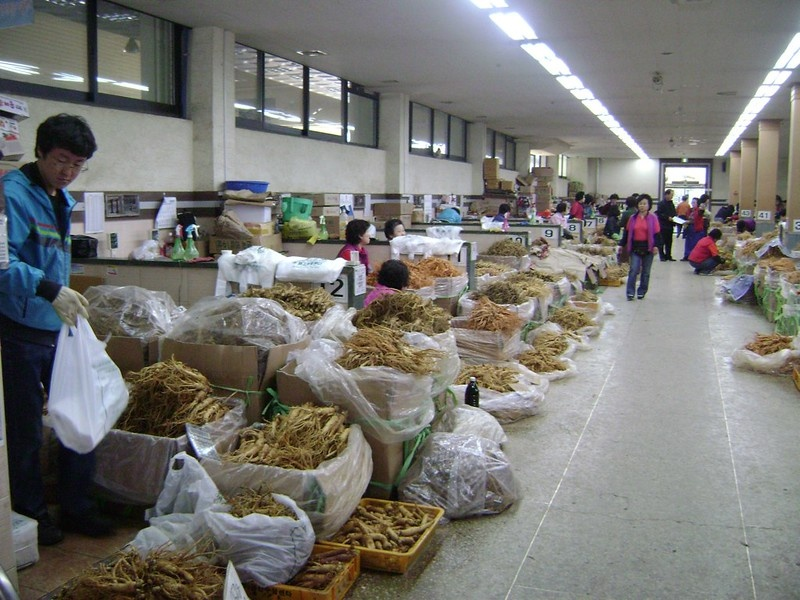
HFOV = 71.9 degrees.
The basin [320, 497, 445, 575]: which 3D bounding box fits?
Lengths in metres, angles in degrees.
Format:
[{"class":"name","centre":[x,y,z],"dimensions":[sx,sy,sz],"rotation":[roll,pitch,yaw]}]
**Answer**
[{"class":"basin","centre":[-0.073,1.173,2.761],"dimensions":[0.368,0.097,0.330],"rotation":[3,14,19]}]

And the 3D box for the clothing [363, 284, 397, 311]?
[{"class":"clothing","centre":[-0.180,-0.046,4.325],"dimensions":[0.268,0.314,0.177],"rotation":[0,8,6]}]

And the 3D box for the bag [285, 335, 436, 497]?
[{"class":"bag","centre":[-0.448,0.685,3.143],"dimensions":[0.697,0.593,0.511],"rotation":[21,-19,-37]}]

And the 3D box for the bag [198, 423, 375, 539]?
[{"class":"bag","centre":[-0.464,0.874,2.634],"dimensions":[0.520,0.244,0.612],"rotation":[4,6,10]}]

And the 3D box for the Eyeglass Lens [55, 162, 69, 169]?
[{"class":"Eyeglass Lens","centre":[-1.673,-0.663,2.721],"dimensions":[0.035,0.032,0.010],"rotation":[4,37,-9]}]

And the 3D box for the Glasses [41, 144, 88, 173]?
[{"class":"Glasses","centre":[-1.701,-0.687,2.745],"dimensions":[0.270,0.130,0.148],"rotation":[-1,12,-8]}]

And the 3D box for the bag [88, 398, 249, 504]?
[{"class":"bag","centre":[-1.300,0.847,3.109],"dimensions":[0.504,0.261,0.616],"rotation":[3,5,15]}]

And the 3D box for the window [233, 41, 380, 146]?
[{"class":"window","centre":[-1.531,-3.494,10.157],"dimensions":[0.114,0.927,4.132],"rotation":[15,19,30]}]

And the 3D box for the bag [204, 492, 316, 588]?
[{"class":"bag","centre":[-0.676,1.082,2.511],"dimensions":[0.458,0.278,0.322],"rotation":[3,1,-5]}]

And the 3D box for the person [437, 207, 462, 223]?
[{"class":"person","centre":[1.006,-1.730,11.407],"dimensions":[0.545,0.196,0.647],"rotation":[0,14,0]}]

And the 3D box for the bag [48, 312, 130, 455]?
[{"class":"bag","centre":[-1.544,0.407,2.709],"dimensions":[0.238,0.653,0.296],"rotation":[2,13,5]}]
